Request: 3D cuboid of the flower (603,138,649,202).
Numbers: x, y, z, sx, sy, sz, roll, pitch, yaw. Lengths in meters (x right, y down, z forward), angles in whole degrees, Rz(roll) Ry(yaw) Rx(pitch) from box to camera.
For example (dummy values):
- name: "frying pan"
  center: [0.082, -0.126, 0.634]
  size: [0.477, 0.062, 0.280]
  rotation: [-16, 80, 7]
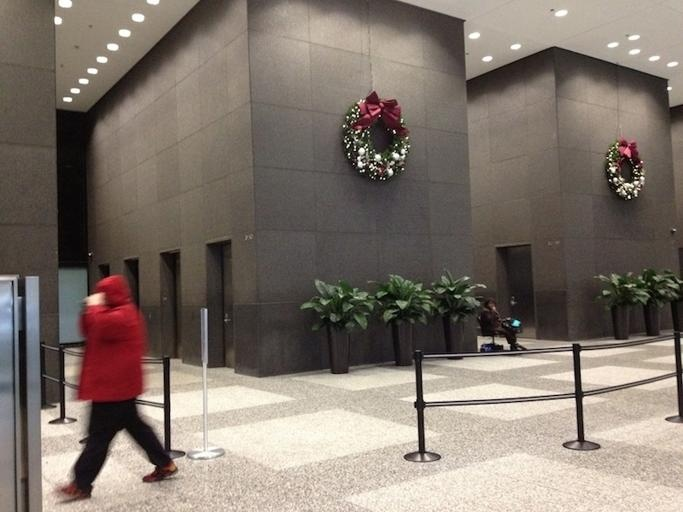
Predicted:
- name: "flower"
  center: [9.875, -3.015, 17.168]
  size: [0.661, 2.149, 1.687]
  rotation: [-6, 6, 45]

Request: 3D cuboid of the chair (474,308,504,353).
- name: "chair"
  center: [4.206, 2.055, 13.524]
  size: [0.514, 0.873, 0.583]
  rotation: [9, -21, -41]

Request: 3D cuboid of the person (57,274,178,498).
- name: "person"
  center: [-2.148, 1.203, 4.684]
  size: [0.874, 2.018, 0.401]
  rotation: [1, -4, -31]

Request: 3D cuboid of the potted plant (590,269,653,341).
- name: "potted plant"
  center: [9.271, 1.611, 16.049]
  size: [1.909, 2.144, 1.274]
  rotation: [1, -5, -37]

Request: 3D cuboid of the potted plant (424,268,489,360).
- name: "potted plant"
  center: [2.853, 1.541, 12.754]
  size: [1.232, 2.020, 1.389]
  rotation: [6, 1, 25]

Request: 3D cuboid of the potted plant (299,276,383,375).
- name: "potted plant"
  center: [-0.036, 1.625, 11.557]
  size: [1.878, 2.281, 1.901]
  rotation: [1, -8, -9]

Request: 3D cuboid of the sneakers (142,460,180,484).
- name: "sneakers"
  center: [-1.828, 2.198, 5.088]
  size: [0.420, 0.198, 0.159]
  rotation: [-1, 0, -17]

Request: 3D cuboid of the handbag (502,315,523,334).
- name: "handbag"
  center: [4.579, 1.901, 13.332]
  size: [0.425, 0.352, 0.525]
  rotation: [-3, -4, 16]

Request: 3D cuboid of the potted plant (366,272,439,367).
- name: "potted plant"
  center: [1.699, 1.598, 12.521]
  size: [1.920, 2.616, 1.858]
  rotation: [3, -7, -38]

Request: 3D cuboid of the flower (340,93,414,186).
- name: "flower"
  center: [0.786, -3.019, 12.396]
  size: [1.873, 2.182, 0.653]
  rotation: [-14, 6, -40]
